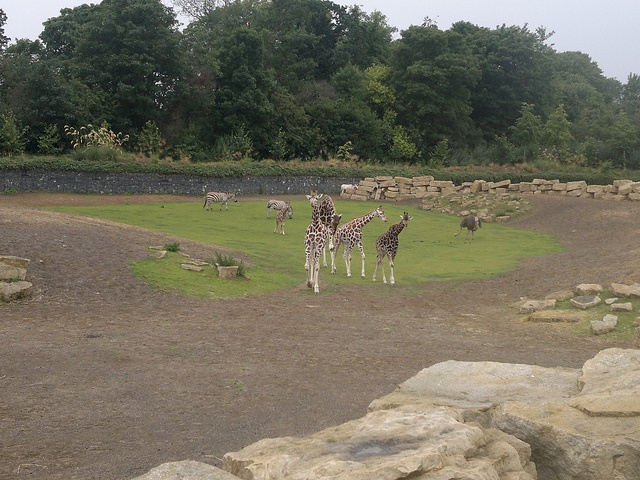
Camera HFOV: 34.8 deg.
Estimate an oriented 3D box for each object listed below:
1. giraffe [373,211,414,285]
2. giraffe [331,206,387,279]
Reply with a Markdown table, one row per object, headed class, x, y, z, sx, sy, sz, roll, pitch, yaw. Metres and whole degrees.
| class | x | y | z | sx | sy | sz | roll | pitch | yaw |
| --- | --- | --- | --- | --- | --- | --- | --- | --- | --- |
| giraffe | 3.935 | 0.250 | 58.956 | 1.829 | 3.953 | 4.891 | 2 | 7 | 4 |
| giraffe | 1.754 | 0.053 | 59.044 | 3.022 | 4.163 | 2.621 | 1 | 8 | -11 |
